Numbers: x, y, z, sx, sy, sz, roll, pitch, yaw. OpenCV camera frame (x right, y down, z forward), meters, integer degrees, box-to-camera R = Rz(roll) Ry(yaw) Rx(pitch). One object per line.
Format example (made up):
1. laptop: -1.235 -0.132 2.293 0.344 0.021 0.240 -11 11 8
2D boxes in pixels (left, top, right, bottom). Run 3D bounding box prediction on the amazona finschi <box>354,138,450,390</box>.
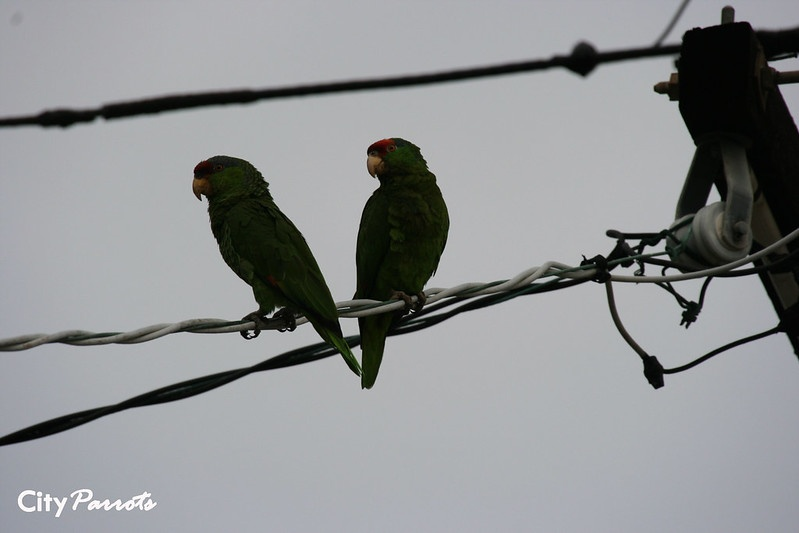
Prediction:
1. amazona finschi: -0.020 -0.058 6.993 0.617 1.101 0.557 -15 -33 2
